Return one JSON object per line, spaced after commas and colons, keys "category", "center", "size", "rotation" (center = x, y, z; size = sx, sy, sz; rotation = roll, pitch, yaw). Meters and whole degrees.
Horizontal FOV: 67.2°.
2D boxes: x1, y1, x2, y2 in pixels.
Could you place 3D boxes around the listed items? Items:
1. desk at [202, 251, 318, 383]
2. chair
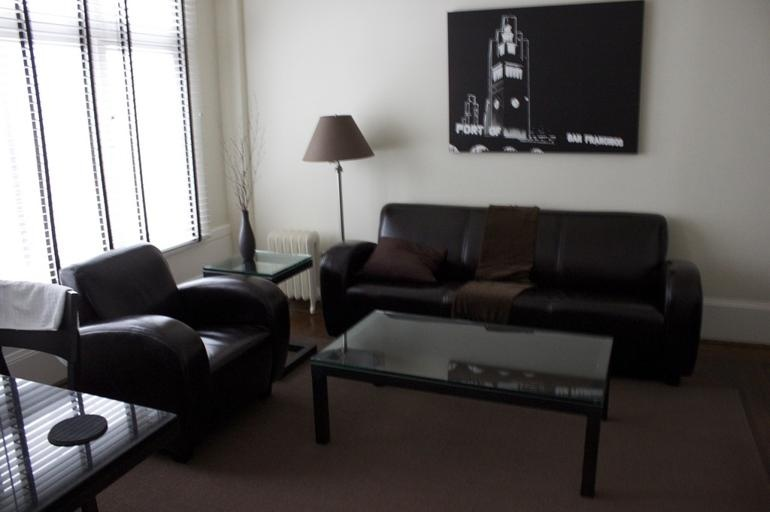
{"category": "desk", "center": [-0.841, 0.428, 4.749], "size": [0.878, 0.954, 0.893], "rotation": [10, 20, 29]}
{"category": "chair", "center": [-1.449, 0.493, 3.605], "size": [1.253, 1.089, 1.280], "rotation": [8, 13, 18]}
